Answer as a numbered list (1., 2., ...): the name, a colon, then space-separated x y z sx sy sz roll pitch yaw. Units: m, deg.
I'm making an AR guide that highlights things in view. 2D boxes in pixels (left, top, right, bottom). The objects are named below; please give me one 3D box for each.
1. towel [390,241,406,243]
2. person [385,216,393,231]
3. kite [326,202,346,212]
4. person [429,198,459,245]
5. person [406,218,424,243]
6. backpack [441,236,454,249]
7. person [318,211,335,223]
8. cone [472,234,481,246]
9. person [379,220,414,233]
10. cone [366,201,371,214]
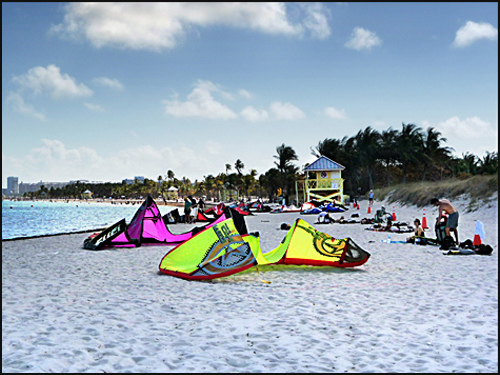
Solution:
1. towel: 4.935 1.828 13.682 0.512 0.025 0.194 0 7 7
2. person: 5.602 1.524 16.561 0.238 0.344 0.806 2 7 19
3. kite: 6.727 1.657 32.236 1.250 0.573 0.923 4 -2 4
4. person: 5.997 0.975 12.614 0.812 1.313 1.219 3 8 25
5. person: 5.614 1.472 13.781 0.719 1.016 0.606 0 0 10
6. backpack: 5.885 1.656 12.186 0.256 0.345 0.185 7 -20 8
7. person: 3.978 1.548 21.514 0.490 0.257 0.826 3 4 -13
8. cone: 6.441 1.507 11.639 0.244 0.288 0.254 0 0 3
9. person: 5.846 1.584 16.168 0.698 0.375 1.123 -6 9 -37
10. cone: 9.743 1.660 33.687 0.554 0.808 0.594 -1 4 -1
